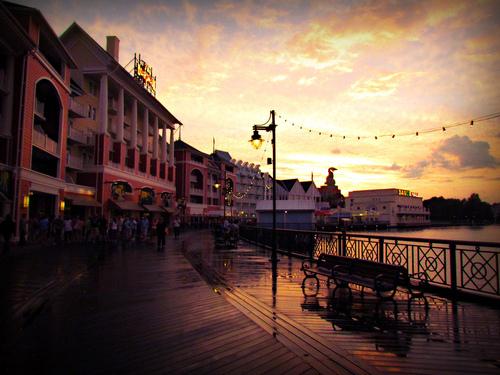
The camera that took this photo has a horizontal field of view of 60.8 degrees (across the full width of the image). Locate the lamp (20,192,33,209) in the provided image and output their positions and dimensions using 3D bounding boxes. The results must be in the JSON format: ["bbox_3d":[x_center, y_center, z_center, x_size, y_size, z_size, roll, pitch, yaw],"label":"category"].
[{"bbox_3d":[-15.041,0.895,28.543,0.680,1.412,1.331,-1,-1,-5],"label":"lamp"}]

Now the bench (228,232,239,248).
[{"bbox_3d":[-1.053,3.276,26.642,0.547,0.964,1.496,0,0,0],"label":"bench"}]

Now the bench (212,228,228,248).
[{"bbox_3d":[-1.806,3.254,26.715,0.845,1.102,2.967,0,0,-4],"label":"bench"}]
